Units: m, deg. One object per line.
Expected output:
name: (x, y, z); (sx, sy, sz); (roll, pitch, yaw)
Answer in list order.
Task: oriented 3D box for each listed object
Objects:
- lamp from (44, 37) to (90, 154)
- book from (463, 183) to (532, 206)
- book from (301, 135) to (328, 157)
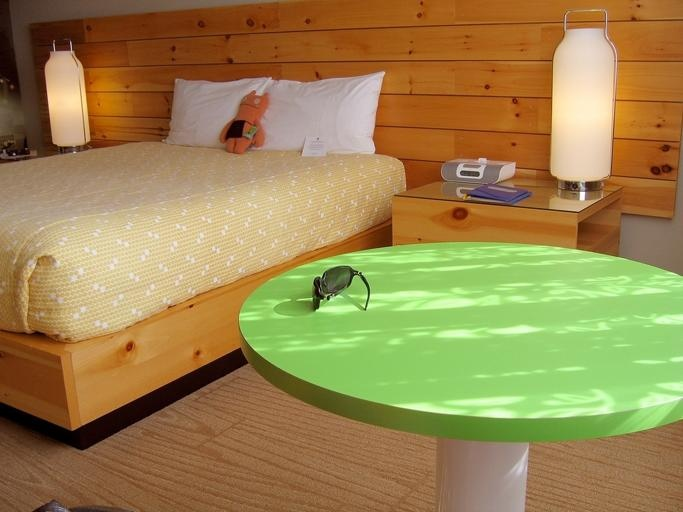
lamp: (-2.299, -1.284, 4.190); (0.301, 0.804, 0.170); (-6, 20, -19)
book: (0.739, -0.301, 2.395); (0.269, 0.051, 0.234); (13, 21, 33)
book: (-0.164, -0.675, 3.085); (0.155, 0.139, 0.017); (7, -22, 16)
